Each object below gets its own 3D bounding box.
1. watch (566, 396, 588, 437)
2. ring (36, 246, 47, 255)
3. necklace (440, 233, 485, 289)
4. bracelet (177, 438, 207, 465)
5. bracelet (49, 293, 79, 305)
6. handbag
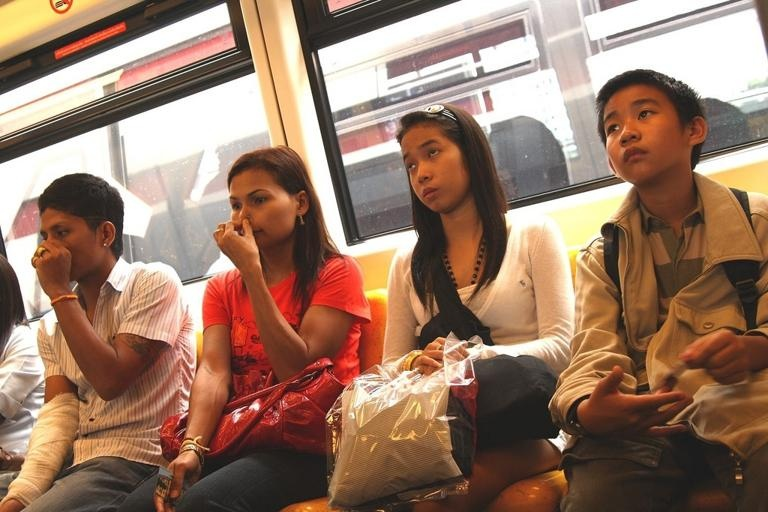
[{"bbox_3d":[0.589,0.509,1.874,0.039,0.107,0.083,-13,-7,29],"label":"watch"},{"bbox_3d":[-1.508,-0.017,2.628,0.037,0.036,0.013,-30,-49,15],"label":"ring"},{"bbox_3d":[0.350,0.023,2.447,0.132,0.208,0.056,-3,-7,13],"label":"necklace"},{"bbox_3d":[-0.722,0.738,2.268,0.100,0.049,0.081,12,-26,-34],"label":"bracelet"},{"bbox_3d":[-1.391,0.189,2.591,0.067,0.020,0.067,-24,8,-37],"label":"bracelet"},{"bbox_3d":[-0.500,0.588,2.325,0.597,0.243,0.408,-27,-14,19],"label":"handbag"}]
